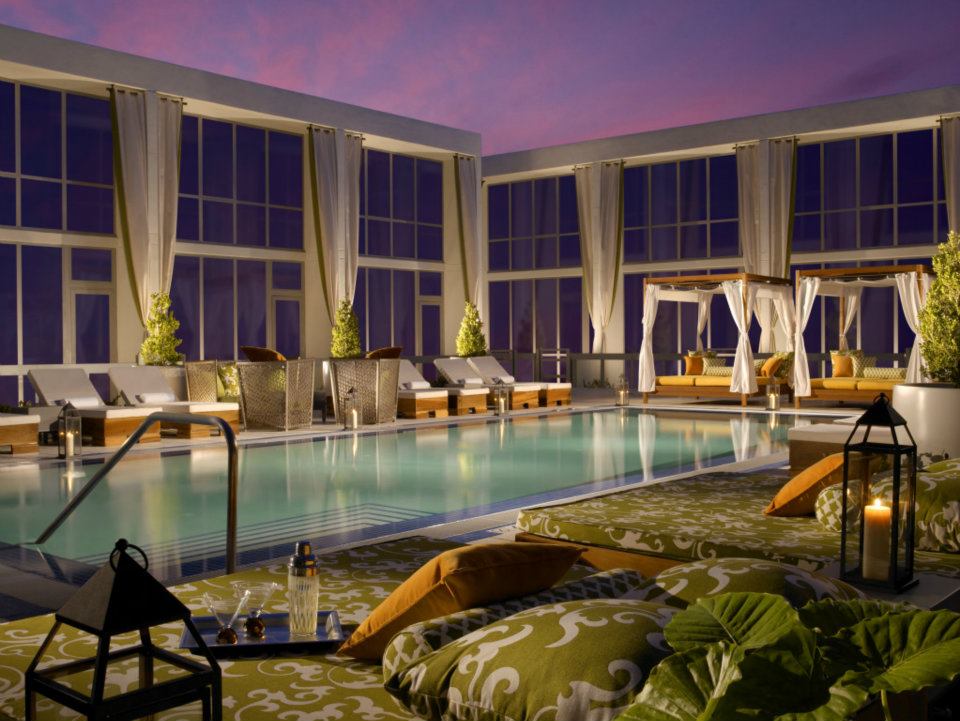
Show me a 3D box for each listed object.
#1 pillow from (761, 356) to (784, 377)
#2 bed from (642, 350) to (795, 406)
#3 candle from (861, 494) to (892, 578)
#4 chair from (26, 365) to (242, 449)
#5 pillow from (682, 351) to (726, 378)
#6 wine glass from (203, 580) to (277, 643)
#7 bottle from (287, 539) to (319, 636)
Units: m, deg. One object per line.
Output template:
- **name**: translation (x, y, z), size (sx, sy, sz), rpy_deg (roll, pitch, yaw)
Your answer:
- **pillow**: translation (6.232, 0.141, 14.730), size (0.439, 0.409, 0.321), rpy_deg (-3, -2, 23)
- **bed**: translation (5.382, 0.319, 15.269), size (2.807, 1.009, 1.465), rpy_deg (-4, -2, 28)
- **candle**: translation (1.522, 0.681, 2.653), size (0.106, 0.316, 0.078), rpy_deg (-3, -2, 31)
- **chair**: translation (-4.709, 0.584, 9.438), size (2.376, 1.081, 1.299), rpy_deg (-1, -2, -37)
- **pillow**: translation (5.147, 0.145, 15.853), size (0.636, 0.681, 0.204), rpy_deg (3, -37, 15)
- **wine glass**: translation (-0.924, 0.978, 2.662), size (0.245, 0.165, 0.268), rpy_deg (-1, 1, -6)
- **bottle**: translation (-0.642, 0.812, 2.508), size (0.104, 0.330, 0.193), rpy_deg (-2, -2, -16)
